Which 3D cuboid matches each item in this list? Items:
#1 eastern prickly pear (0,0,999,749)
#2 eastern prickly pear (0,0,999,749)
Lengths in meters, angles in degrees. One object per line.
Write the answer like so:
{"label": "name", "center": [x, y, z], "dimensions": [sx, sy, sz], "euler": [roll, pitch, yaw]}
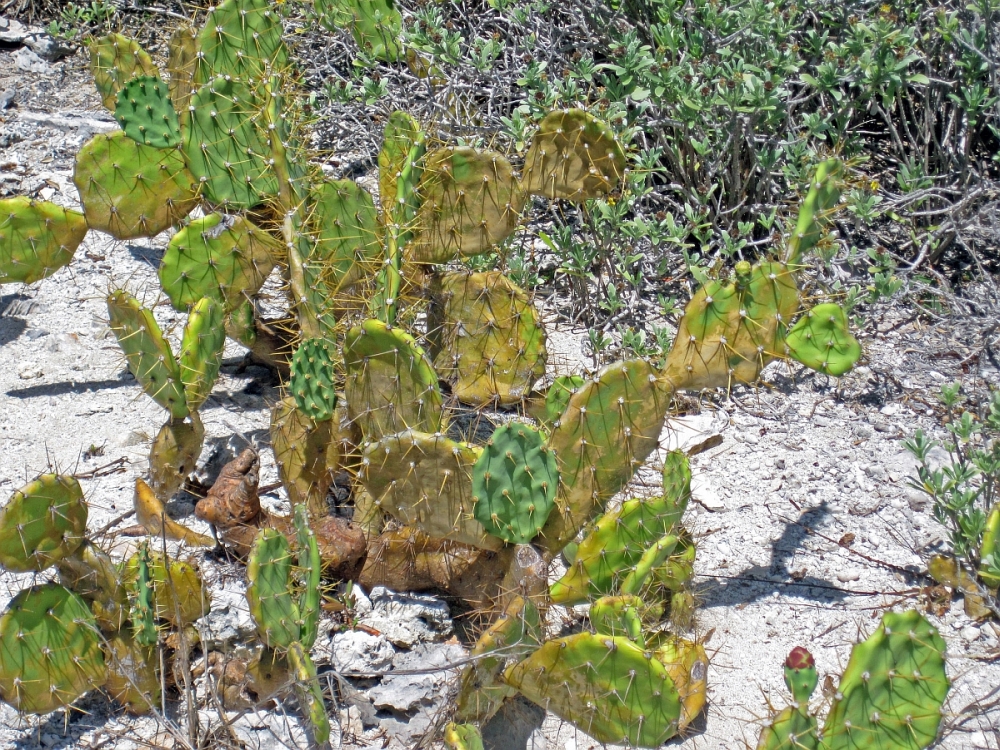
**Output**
{"label": "eastern prickly pear", "center": [-0.253, 0.033, 4.151], "dimensions": [2.718, 1.168, 2.468], "euler": [31, 63, 6]}
{"label": "eastern prickly pear", "center": [-0.318, 0.066, 4.140], "dimensions": [2.718, 1.168, 2.468], "euler": [31, 63, 6]}
